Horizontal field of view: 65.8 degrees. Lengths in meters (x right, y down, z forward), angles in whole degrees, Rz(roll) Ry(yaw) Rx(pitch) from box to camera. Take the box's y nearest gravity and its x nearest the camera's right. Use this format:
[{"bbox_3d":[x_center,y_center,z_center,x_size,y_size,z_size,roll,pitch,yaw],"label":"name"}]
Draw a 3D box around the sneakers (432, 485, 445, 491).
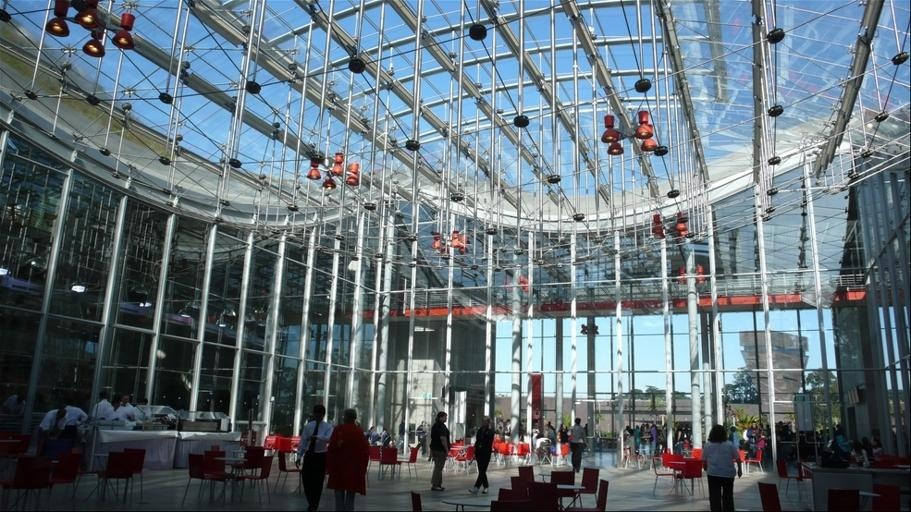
[{"bbox_3d":[-0.676,8.543,25.812,0.422,0.138,0.213,-11,-20,27],"label":"sneakers"}]
